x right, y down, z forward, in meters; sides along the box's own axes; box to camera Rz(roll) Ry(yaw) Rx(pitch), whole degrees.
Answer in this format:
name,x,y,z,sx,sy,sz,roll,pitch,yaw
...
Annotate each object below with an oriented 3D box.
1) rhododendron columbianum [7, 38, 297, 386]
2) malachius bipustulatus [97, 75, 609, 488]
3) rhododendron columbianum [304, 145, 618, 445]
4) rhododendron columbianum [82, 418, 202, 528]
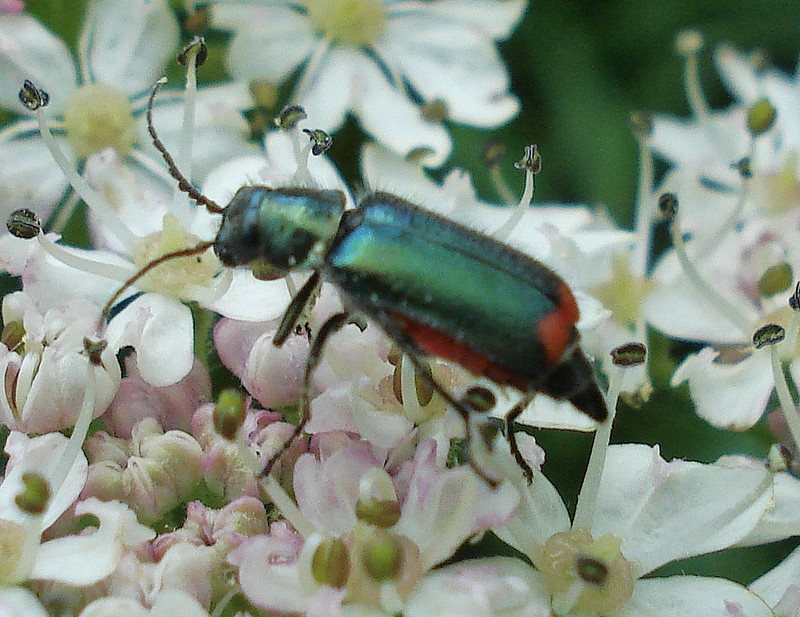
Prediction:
name,x,y,z,sx,sy,sz,roll,pitch,yaw
rhododendron columbianum,-0.432,-0.142,2.169,0.491,0.185,0.563,-36,82,-23
malachius bipustulatus,-0.068,-0.050,2.235,0.865,0.352,0.665,18,41,8
rhododendron columbianum,0.178,-0.148,2.415,0.597,0.680,0.431,3,12,27
rhododendron columbianum,-0.400,0.256,2.006,0.117,0.186,0.149,3,17,8
